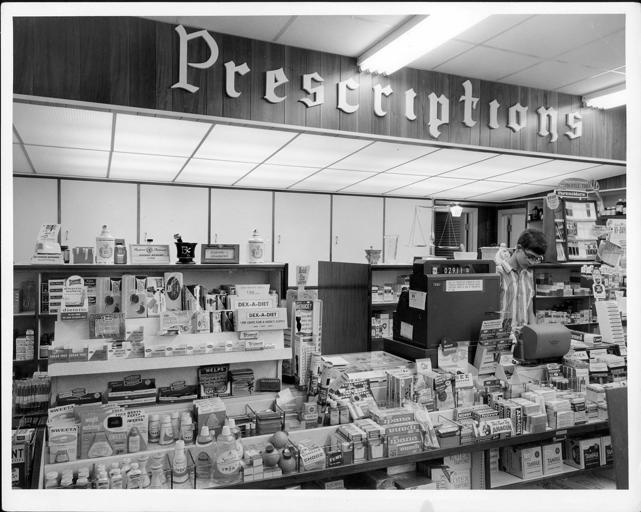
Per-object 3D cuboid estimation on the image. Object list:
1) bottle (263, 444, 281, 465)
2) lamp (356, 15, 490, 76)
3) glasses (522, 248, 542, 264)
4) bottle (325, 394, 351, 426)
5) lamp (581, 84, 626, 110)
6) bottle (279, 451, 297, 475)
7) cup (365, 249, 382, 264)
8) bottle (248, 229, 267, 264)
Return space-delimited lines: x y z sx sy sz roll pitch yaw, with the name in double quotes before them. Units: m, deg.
"bottle" -0.241 0.984 2.794 0.081 0.104 0.084 -3 5 0
"lamp" 0.794 -1.653 4.363 0.531 0.193 1.109 0 1 -29
"glasses" 1.617 -0.009 4.265 0.090 0.101 0.031 4 -31 -16
"bottle" 0.095 0.835 3.038 0.137 0.147 0.102 0 1 -11
"lamp" 2.939 -1.624 5.769 0.397 0.124 0.622 1 1 28
"bottle" -0.159 1.017 2.757 0.089 0.095 0.093 0 0 3
"cup" 0.599 0.000 6.087 0.180 0.187 0.173 0 0 0
"bottle" -0.503 -0.069 4.347 0.151 0.241 0.159 -3 -2 0
